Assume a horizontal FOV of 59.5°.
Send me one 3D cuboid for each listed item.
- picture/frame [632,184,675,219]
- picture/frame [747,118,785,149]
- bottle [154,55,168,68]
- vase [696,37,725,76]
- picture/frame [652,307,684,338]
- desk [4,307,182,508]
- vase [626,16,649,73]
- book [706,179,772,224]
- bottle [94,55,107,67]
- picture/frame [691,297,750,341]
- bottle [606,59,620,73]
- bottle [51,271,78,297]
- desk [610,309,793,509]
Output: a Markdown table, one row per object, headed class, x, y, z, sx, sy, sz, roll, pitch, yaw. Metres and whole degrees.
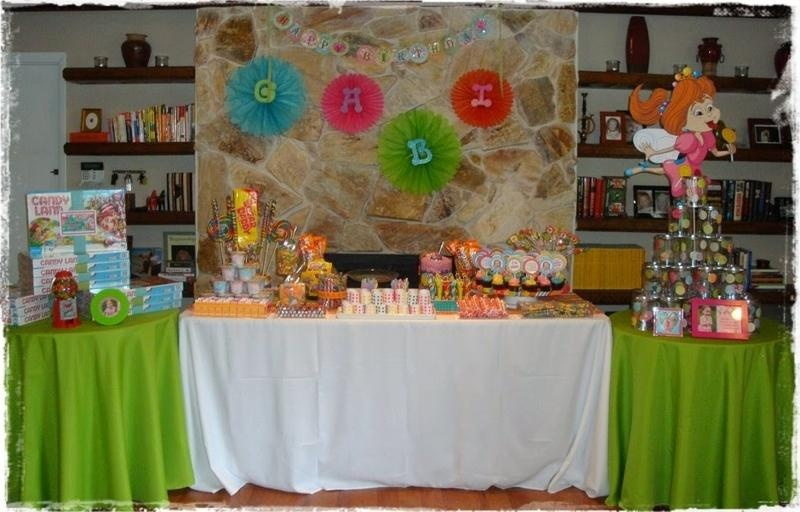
| class | x | y | z | sx | sy | sz | roll | pitch | yaw |
| --- | --- | --- | --- | --- | --- | --- | --- | --- | --- |
| picture/frame | 2.130 | -0.440 | 5.860 | 0.372 | 0.317 | 0.037 | 0 | -7 | 2 |
| picture/frame | 3.177 | -1.048 | 6.068 | 0.284 | 0.276 | 0.030 | 2 | -15 | 5 |
| bottle | -2.049 | -1.664 | 6.058 | 0.125 | 0.091 | 0.125 | 0 | -3 | 0 |
| vase | 2.660 | -1.679 | 5.991 | 0.218 | 0.296 | 0.184 | -6 | 6 | 12 |
| picture/frame | 1.588 | 0.404 | 4.135 | 0.173 | 0.171 | 0.012 | 0 | -2 | 5 |
| desk | -1.854 | 0.905 | 4.374 | 1.031 | 0.897 | 1.037 | -1 | 1 | -33 |
| vase | 2.024 | -1.780 | 5.944 | 0.193 | 0.527 | 0.278 | 3 | 3 | 18 |
| book | 2.808 | -0.437 | 5.788 | 0.426 | 0.388 | 0.230 | 1 | -3 | -1 |
| bottle | -2.595 | -1.667 | 6.076 | 0.103 | 0.072 | 0.103 | -1 | 1 | 0 |
| picture/frame | 1.884 | 0.383 | 4.098 | 0.234 | 0.189 | 0.016 | 1 | -2 | 8 |
| bottle | 1.790 | -1.578 | 5.889 | 0.108 | 0.101 | 0.107 | 1 | -2 | 3 |
| bottle | -1.961 | 0.161 | 4.112 | 0.146 | 0.172 | 0.145 | -2 | 7 | -43 |
| desk | 1.782 | 0.977 | 4.154 | 1.038 | 1.097 | 0.335 | 3 | 3 | 16 |
